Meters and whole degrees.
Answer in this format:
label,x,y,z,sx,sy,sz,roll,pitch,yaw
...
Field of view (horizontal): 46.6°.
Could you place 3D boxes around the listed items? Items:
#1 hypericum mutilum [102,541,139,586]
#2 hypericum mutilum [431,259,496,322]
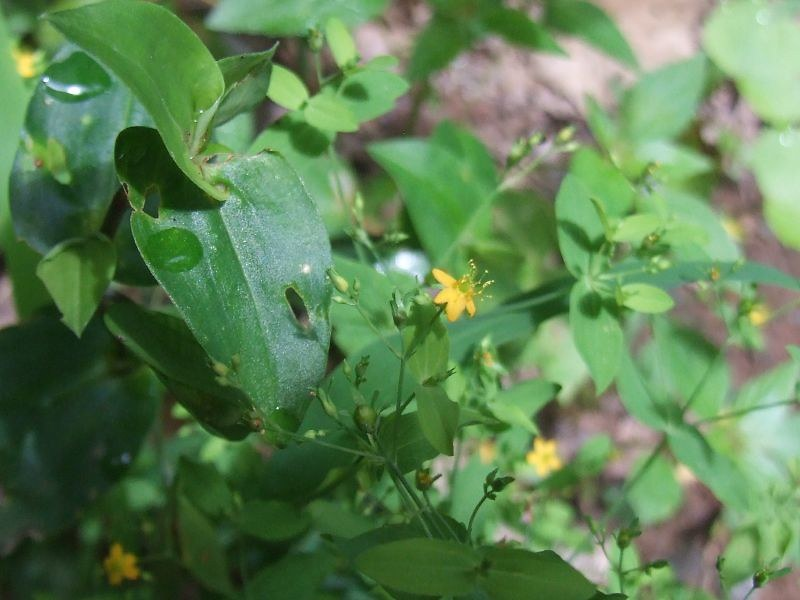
label,x,y,z,sx,sy,sz,roll,pitch,yaw
hypericum mutilum,-0.271,0.253,0.891,0.034,0.019,0.040,34,28,31
hypericum mutilum,0.065,-0.015,0.880,0.057,0.035,0.060,3,14,-11
